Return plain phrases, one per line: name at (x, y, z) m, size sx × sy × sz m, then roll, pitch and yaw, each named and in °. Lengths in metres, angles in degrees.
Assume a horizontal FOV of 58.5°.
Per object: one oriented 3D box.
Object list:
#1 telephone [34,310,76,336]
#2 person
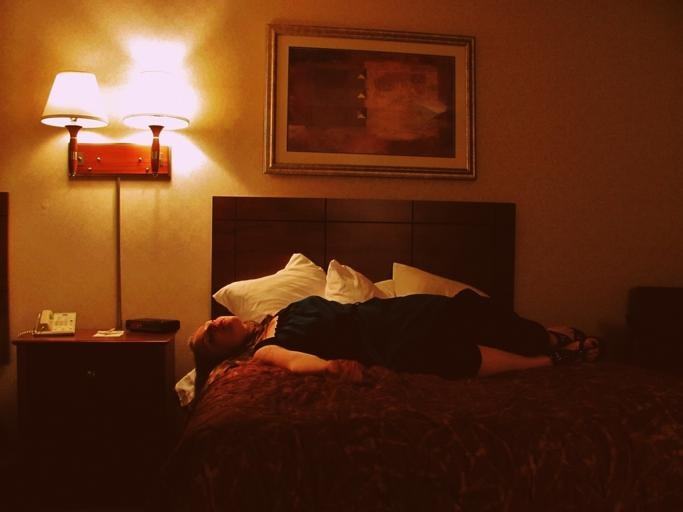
telephone at (-1.533, 0.365, 3.263) m, size 0.140 × 0.054 × 0.162 m, roll 2°, pitch 32°, yaw -15°
person at (0.229, 0.379, 2.872) m, size 1.334 × 0.413 × 0.793 m, roll -2°, pitch -8°, yaw 0°
